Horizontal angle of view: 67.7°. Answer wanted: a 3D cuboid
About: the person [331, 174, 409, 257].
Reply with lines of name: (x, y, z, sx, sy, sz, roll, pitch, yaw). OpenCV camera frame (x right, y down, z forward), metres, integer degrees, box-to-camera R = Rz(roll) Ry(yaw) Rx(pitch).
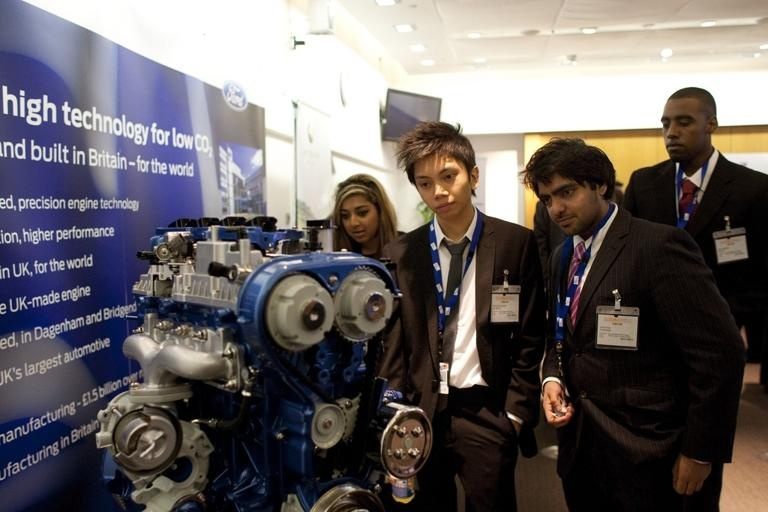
person: (-0.178, -0.281, 4.593, 0.513, 0.796, 0.473, -8, 17, -5)
